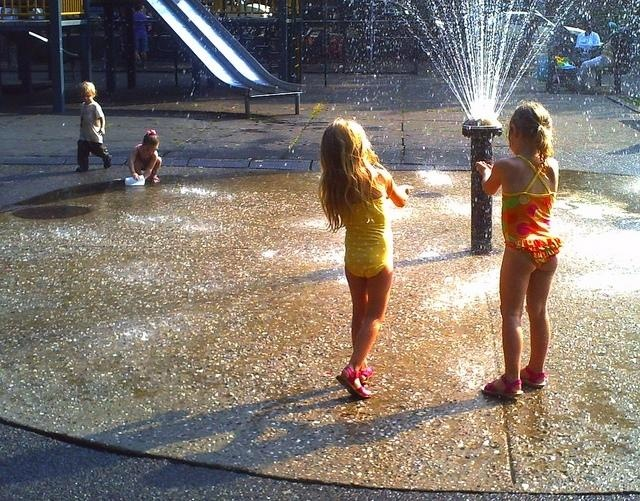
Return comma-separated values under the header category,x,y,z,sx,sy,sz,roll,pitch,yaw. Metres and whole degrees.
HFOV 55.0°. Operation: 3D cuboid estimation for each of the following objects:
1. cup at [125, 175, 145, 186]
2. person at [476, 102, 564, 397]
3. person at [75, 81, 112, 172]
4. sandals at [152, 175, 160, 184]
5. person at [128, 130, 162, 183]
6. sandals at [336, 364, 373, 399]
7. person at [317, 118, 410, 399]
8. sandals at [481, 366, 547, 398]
category,x,y,z,sx,sy,sz,roll,pitch,yaw
cup,-2.586,-0.991,8.589,0.267,0.117,0.224,-5,18,-15
person,1.194,0.013,3.612,0.458,1.691,0.418,3,17,11
person,-3.469,-1.867,9.238,0.503,1.296,0.472,-6,18,-18
sandals,-2.333,-1.020,8.761,0.134,0.115,0.223,-6,16,-11
person,-2.465,-1.328,8.643,0.428,0.716,0.402,-5,18,-15
sandals,0.213,0.785,3.733,0.118,0.141,0.308,11,-22,47
person,0.283,0.045,3.684,0.544,1.605,0.522,-2,17,-4
sandals,1.186,0.785,3.743,0.348,0.126,0.176,-3,4,7
